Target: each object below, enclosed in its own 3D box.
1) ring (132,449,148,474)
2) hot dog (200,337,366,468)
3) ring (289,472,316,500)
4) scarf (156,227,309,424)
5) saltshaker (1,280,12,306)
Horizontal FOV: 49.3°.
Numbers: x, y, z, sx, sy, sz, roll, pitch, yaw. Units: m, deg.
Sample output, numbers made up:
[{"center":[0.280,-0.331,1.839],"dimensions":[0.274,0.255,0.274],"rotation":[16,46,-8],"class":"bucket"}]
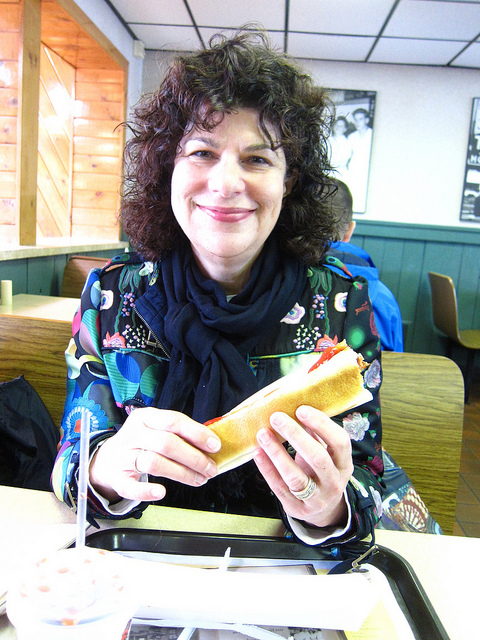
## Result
[{"center":[-0.122,0.174,0.622],"dimensions":[0.008,0.029,0.030],"rotation":[4,9,-8],"class":"ring"},{"center":[0.049,0.112,0.680],"dimensions":[0.266,0.097,0.070],"rotation":[-32,33,21],"class":"hot dog"},{"center":[0.074,0.194,0.614],"dimensions":[0.028,0.020,0.027],"rotation":[-23,34,17],"class":"ring"},{"center":[-0.020,0.010,0.943],"dimensions":[0.242,0.339,0.127],"rotation":[6,16,32],"class":"scarf"},{"center":[-0.927,-0.104,2.064],"dimensions":[0.041,0.096,0.033],"rotation":[2,9,-7],"class":"saltshaker"}]
